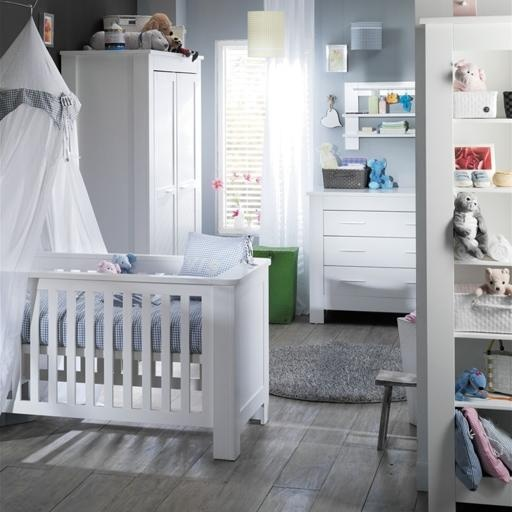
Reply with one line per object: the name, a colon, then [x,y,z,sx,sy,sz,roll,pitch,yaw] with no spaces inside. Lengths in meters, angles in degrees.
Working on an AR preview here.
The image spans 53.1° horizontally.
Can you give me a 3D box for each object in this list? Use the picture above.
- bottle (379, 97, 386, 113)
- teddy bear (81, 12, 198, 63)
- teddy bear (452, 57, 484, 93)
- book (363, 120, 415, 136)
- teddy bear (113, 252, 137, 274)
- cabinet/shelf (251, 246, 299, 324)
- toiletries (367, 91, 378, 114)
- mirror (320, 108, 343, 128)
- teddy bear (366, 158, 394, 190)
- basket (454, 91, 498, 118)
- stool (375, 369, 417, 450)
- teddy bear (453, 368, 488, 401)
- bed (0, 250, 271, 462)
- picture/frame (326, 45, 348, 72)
bottle: [1.117,-1.335,4.515,0.065,0.144,0.024,1,4,15]
teddy bear: [-0.890,-1.594,3.953,0.595,0.305,0.410,1,16,-22]
teddy bear: [0.626,-0.539,1.515,0.071,0.095,0.094,12,40,15]
book: [1.155,-1.133,4.542,0.458,0.153,0.137,1,5,14]
teddy bear: [-0.687,0.033,2.670,0.080,0.144,0.111,-1,3,23]
cabinet/shelf: [0.218,0.231,4.527,0.462,0.912,0.503,0,4,8]
toiletries: [1.041,-1.362,4.546,0.091,0.224,0.126,0,4,12]
mirror: [0.685,-1.264,4.701,0.178,0.173,0.046,1,4,12]
teddy bear: [1.071,-0.735,4.509,0.226,0.317,0.226,7,13,41]
basket: [0.622,-0.430,1.454,0.079,0.065,0.091,1,5,17]
stool: [0.589,0.640,2.160,0.164,0.369,0.435,1,5,18]
teddy bear: [0.675,0.390,1.597,0.066,0.066,0.108,1,4,11]
bed: [-0.527,0.417,2.414,1.105,0.798,0.517,1,4,16]
picture/frame: [0.727,-1.782,4.597,0.182,0.295,0.020,0,5,6]
